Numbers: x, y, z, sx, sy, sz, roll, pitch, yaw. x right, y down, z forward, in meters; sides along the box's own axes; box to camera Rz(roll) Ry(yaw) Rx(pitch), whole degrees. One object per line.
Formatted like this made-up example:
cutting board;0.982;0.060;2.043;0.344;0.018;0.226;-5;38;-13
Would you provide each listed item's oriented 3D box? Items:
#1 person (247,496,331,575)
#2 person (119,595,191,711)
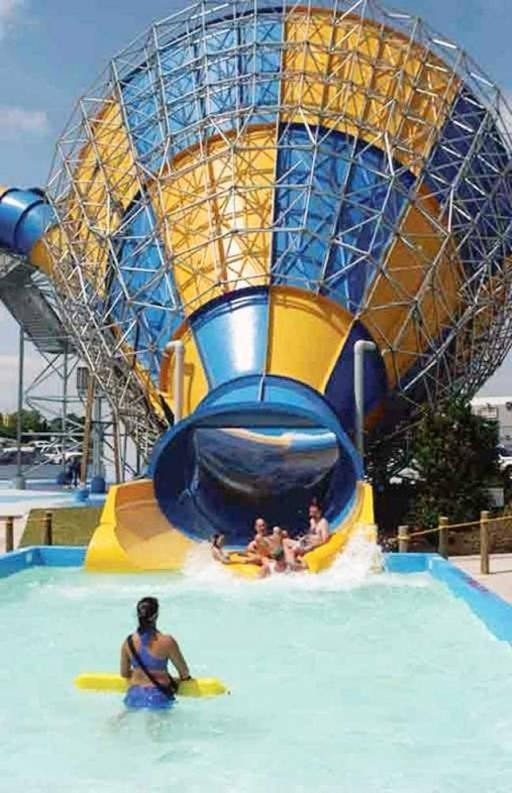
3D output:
person;0.465;2.028;10.594;1.161;0.778;1.163;-1;-2;-1
person;-0.715;1.792;5.359;0.488;0.759;0.386;-1;-2;-8
